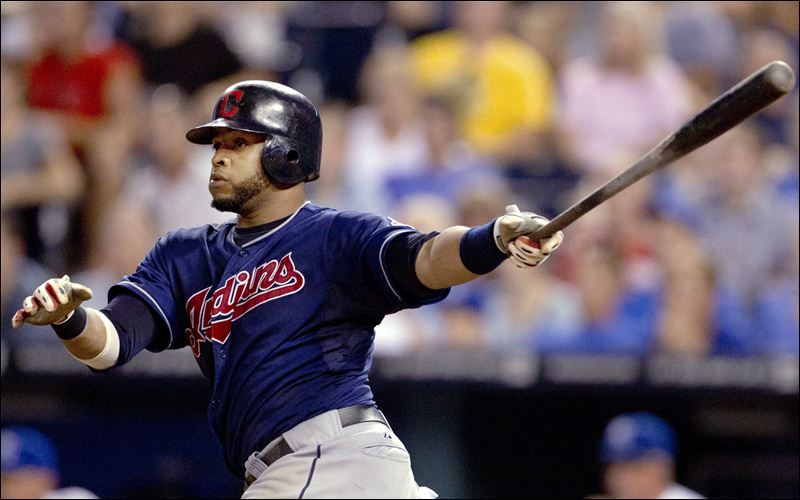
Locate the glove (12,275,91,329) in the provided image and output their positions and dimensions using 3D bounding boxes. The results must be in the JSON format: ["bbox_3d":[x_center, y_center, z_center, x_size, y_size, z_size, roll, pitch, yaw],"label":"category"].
[{"bbox_3d":[-2.504,0.399,9.093,0.407,0.614,0.222,-24,76,27],"label":"glove"}]

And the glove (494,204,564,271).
[{"bbox_3d":[0.870,-0.066,8.903,0.382,0.219,0.453,-39,80,-8],"label":"glove"}]
